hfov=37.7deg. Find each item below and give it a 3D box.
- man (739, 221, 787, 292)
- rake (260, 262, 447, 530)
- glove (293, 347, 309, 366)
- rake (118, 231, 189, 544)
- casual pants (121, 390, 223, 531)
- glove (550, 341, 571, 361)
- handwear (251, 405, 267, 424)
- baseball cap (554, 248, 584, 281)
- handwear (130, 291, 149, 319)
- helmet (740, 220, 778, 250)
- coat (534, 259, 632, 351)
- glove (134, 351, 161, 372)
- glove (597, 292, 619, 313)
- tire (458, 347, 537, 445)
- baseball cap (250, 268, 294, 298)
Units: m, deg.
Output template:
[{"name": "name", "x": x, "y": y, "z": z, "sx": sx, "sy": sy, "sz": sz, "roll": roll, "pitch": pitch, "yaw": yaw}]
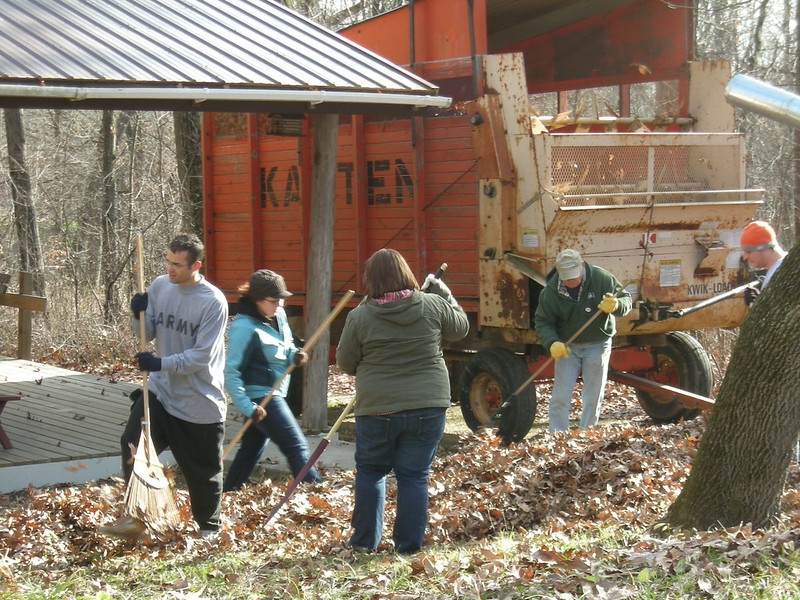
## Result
[{"name": "man", "x": 3.322, "y": -0.419, "z": 10.579, "sx": 0.393, "sy": 0.574, "sz": 0.659, "roll": -18, "pitch": -2, "yaw": 28}, {"name": "rake", "x": -0.395, "y": 0.876, "z": 9.956, "sx": 0.114, "sy": 2.899, "sz": 0.224, "roll": 39, "pitch": 14, "yaw": -1}, {"name": "glove", "x": -0.829, "y": 0.465, "z": 9.797, "sx": 0.129, "sy": 0.157, "sz": 0.067, "roll": 19, "pitch": -18, "yaw": -9}, {"name": "rake", "x": -2.029, "y": 0.668, "z": 9.069, "sx": 0.326, "sy": 2.314, "sz": 0.670, "roll": -4, "pitch": 12, "yaw": 9}, {"name": "casual pants", "x": -1.732, "y": 1.264, "z": 9.271, "sx": 0.795, "sy": 0.339, "sz": 1.212, "roll": -12, "pitch": 29, "yaw": -44}, {"name": "glove", "x": 1.558, "y": 0.506, "z": 11.372, "sx": 0.182, "sy": 0.241, "sz": 0.340, "roll": -4, "pitch": 11, "yaw": 8}, {"name": "handwear", "x": -1.161, "y": 0.938, "z": 9.715, "sx": 0.137, "sy": 0.088, "sz": 0.127, "roll": -16, "pitch": 11, "yaw": -2}, {"name": "baseball cap", "x": 1.614, "y": -0.317, "z": 11.217, "sx": 0.234, "sy": 0.168, "sz": 0.314, "roll": -6, "pitch": 34, "yaw": 13}, {"name": "handwear", "x": -2.067, "y": 0.037, "z": 9.229, "sx": 0.149, "sy": 0.179, "sz": 0.072, "roll": 4, "pitch": 13, "yaw": -44}, {"name": "helmet", "x": 3.260, "y": -0.578, "z": 10.599, "sx": 0.255, "sy": 0.247, "sz": 0.325, "roll": 3, "pitch": 14, "yaw": 43}, {"name": "coat", "x": 1.786, "y": 0.092, "z": 11.393, "sx": 0.993, "sy": 0.812, "sz": 0.721, "roll": -7, "pitch": 16, "yaw": 6}, {"name": "glove", "x": -1.936, "y": 0.484, "z": 9.051, "sx": 0.190, "sy": 0.195, "sz": 0.242, "roll": -8, "pitch": 11, "yaw": -13}, {"name": "glove", "x": 1.990, "y": 0.047, "z": 11.169, "sx": 0.189, "sy": 0.226, "sz": 0.274, "roll": -4, "pitch": 11, "yaw": 9}, {"name": "tire", "x": 1.039, "y": 0.996, "z": 12.208, "sx": 0.377, "sy": 0.990, "sz": 1.050, "roll": 1, "pitch": 3, "yaw": -35}, {"name": "baseball cap", "x": -1.086, "y": -0.130, "z": 9.830, "sx": 0.331, "sy": 0.162, "sz": 0.220, "roll": 11, "pitch": 16, "yaw": 2}]
